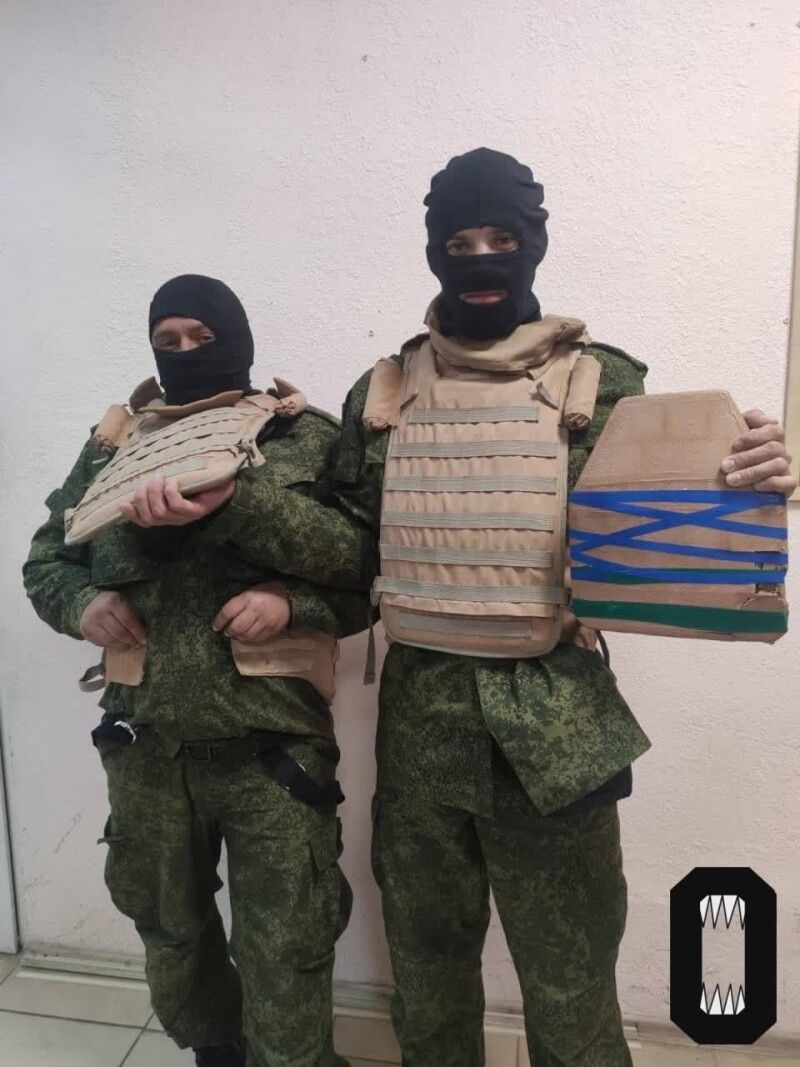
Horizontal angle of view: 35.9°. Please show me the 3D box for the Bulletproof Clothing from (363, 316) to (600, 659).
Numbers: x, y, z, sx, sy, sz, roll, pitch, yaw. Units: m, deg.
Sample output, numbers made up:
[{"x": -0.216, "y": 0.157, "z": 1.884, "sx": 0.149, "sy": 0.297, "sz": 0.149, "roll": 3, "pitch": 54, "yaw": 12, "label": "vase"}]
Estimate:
[{"x": 0.122, "y": -0.093, "z": 2.094, "sx": 0.409, "sy": 0.562, "sz": 0.309, "roll": 3, "pitch": 13, "yaw": 21, "label": "Bulletproof Clothing"}]

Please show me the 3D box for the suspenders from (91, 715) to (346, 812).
[{"x": -0.317, "y": 0.393, "z": 2.262, "sx": 0.365, "sy": 0.079, "sz": 0.193, "roll": 17, "pitch": -3, "yaw": -3, "label": "suspenders"}]

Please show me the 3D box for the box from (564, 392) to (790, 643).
[{"x": 0.422, "y": -0.003, "z": 2.100, "sx": 0.465, "sy": 0.396, "sz": 0.321, "roll": -2, "pitch": -3, "yaw": 18, "label": "box"}]
